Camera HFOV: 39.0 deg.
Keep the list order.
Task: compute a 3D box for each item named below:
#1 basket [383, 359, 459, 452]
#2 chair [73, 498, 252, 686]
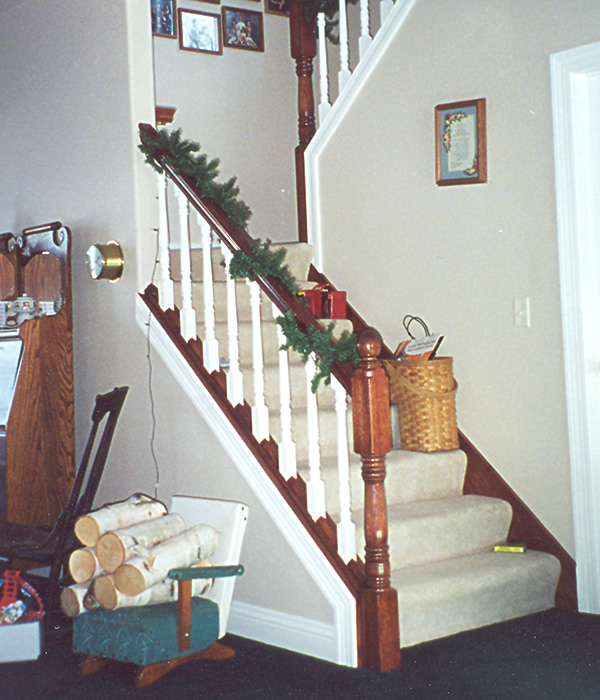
[{"bbox_3d":[0.575,0.275,3.797,0.289,0.418,0.229,4,-16,-35],"label":"basket"},{"bbox_3d":[-0.460,0.816,2.955,0.425,0.611,0.505,2,-2,37],"label":"chair"}]
